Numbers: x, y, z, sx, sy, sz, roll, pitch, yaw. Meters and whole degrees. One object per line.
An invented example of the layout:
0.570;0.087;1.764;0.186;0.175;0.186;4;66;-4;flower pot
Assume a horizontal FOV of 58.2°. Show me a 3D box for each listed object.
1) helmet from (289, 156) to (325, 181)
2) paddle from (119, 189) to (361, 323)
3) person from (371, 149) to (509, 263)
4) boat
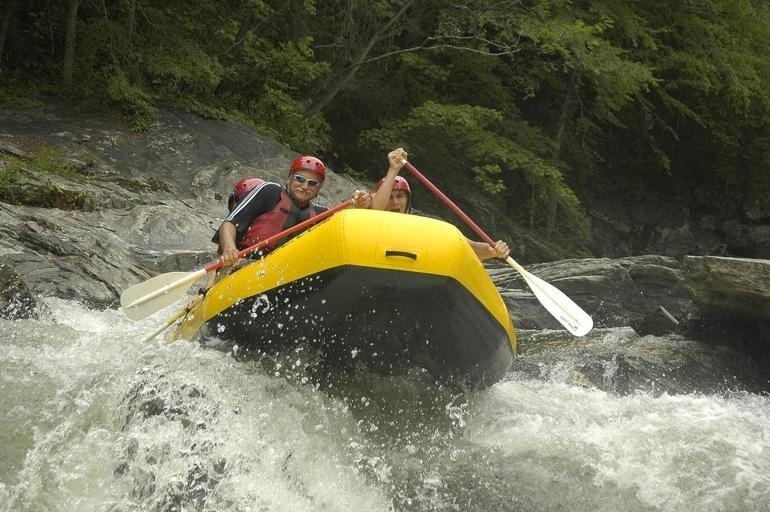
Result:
-0.929;-1.092;8.688;0.268;0.382;0.303;12;62;7;helmet
-1.864;0.051;8.607;0.479;3.519;0.285;61;6;9;paddle
1.015;-1.060;12.380;2.835;1.053;0.840;44;-24;19;person
-0.241;0.553;7.566;1.872;2.983;0.743;42;47;-33;boat
